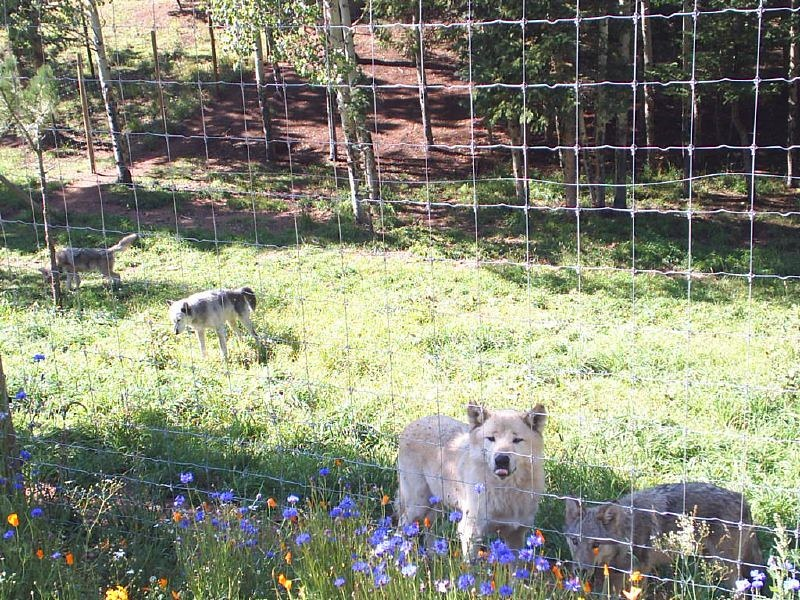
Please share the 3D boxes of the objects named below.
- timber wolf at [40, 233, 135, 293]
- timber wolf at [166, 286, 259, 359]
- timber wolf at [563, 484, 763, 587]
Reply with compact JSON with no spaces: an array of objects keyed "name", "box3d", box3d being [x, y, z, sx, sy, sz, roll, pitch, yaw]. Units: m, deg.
[{"name":"timber wolf","box3d":[-7.141,-0.845,28.457,2.133,1.471,0.557,-4,27,-18]},{"name":"timber wolf","box3d":[-3.764,0.493,25.116,1.734,1.278,0.829,-5,11,-15]},{"name":"timber wolf","box3d":[3.965,3.588,18.884,2.853,1.485,0.863,-1,11,1]}]
